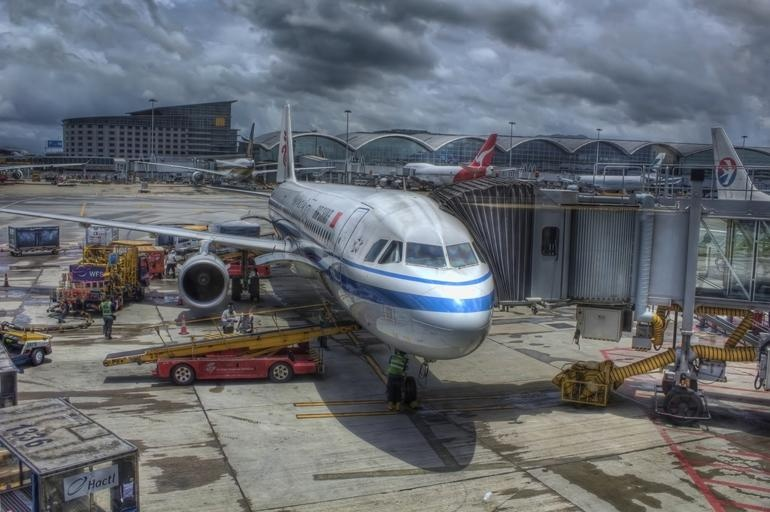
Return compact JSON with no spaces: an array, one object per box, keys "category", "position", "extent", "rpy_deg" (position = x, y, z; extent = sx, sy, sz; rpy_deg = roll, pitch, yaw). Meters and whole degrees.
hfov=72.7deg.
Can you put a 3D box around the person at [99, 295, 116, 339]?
[{"category":"person","position":[-14.352,3.169,27.426],"extent":[1.039,2.074,0.839],"rpy_deg":[-1,-4,29]}]
